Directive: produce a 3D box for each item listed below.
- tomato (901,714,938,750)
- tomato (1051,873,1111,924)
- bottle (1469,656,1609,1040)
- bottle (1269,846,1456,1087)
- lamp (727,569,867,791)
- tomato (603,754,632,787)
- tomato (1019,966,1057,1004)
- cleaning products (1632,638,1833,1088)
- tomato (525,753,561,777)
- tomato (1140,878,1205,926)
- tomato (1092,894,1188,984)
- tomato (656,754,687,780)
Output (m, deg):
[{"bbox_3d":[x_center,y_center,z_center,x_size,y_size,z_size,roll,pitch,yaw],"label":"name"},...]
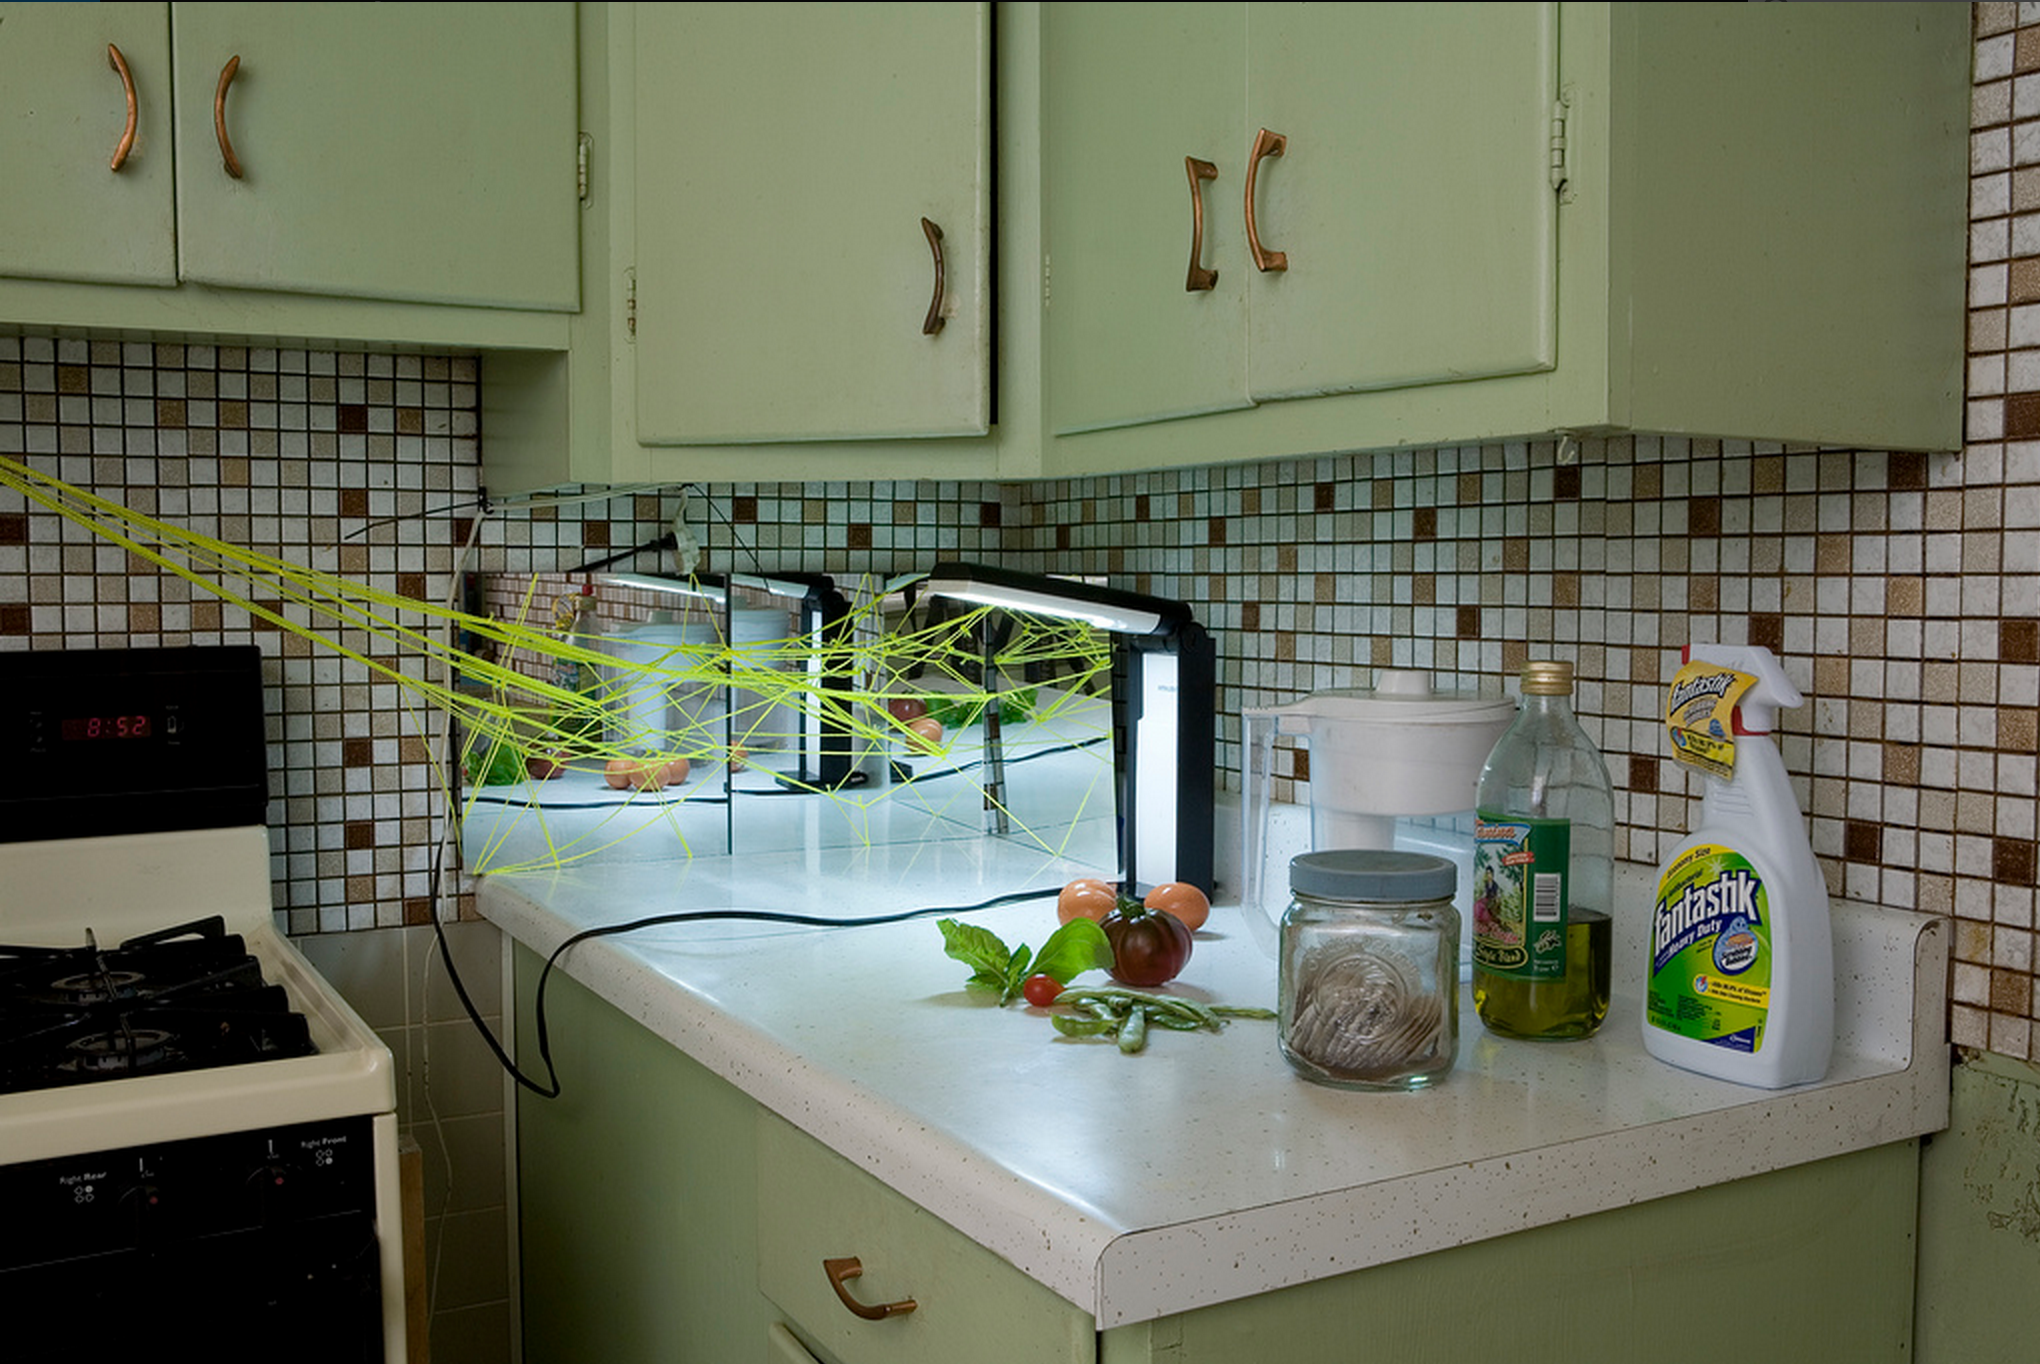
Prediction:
[{"bbox_3d":[-0.147,0.075,2.245,0.048,0.051,0.031,1,2,11],"label":"tomato"},{"bbox_3d":[0.078,0.260,1.822,0.058,0.068,0.055,14,5,39],"label":"tomato"},{"bbox_3d":[0.536,0.173,1.576,0.143,0.388,0.139,1,0,0],"label":"bottle"},{"bbox_3d":[0.330,0.278,1.495,0.204,0.222,0.192,0,3,-10],"label":"bottle"},{"bbox_3d":[-0.283,-0.004,2.318,0.119,0.320,0.216,-2,-1,-16],"label":"lamp"},{"bbox_3d":[-0.590,0.132,2.236,0.044,0.043,0.044,0,0,-20],"label":"tomato"},{"bbox_3d":[0.018,0.327,1.626,0.033,0.044,0.033,1,-8,-2],"label":"tomato"},{"bbox_3d":[0.693,0.172,1.481,0.111,0.419,0.175,3,-2,-25],"label":"cleaning products"},{"bbox_3d":[-0.707,0.125,2.245,0.052,0.035,0.030,3,7,15],"label":"tomato"},{"bbox_3d":[0.184,0.267,1.865,0.066,0.053,0.049,2,12,-13],"label":"tomato"},{"bbox_3d":[0.133,0.288,1.716,0.084,0.087,0.087,-3,1,33],"label":"tomato"},{"bbox_3d":[-0.513,0.125,2.242,0.034,0.039,0.044,-2,11,-18],"label":"tomato"}]
